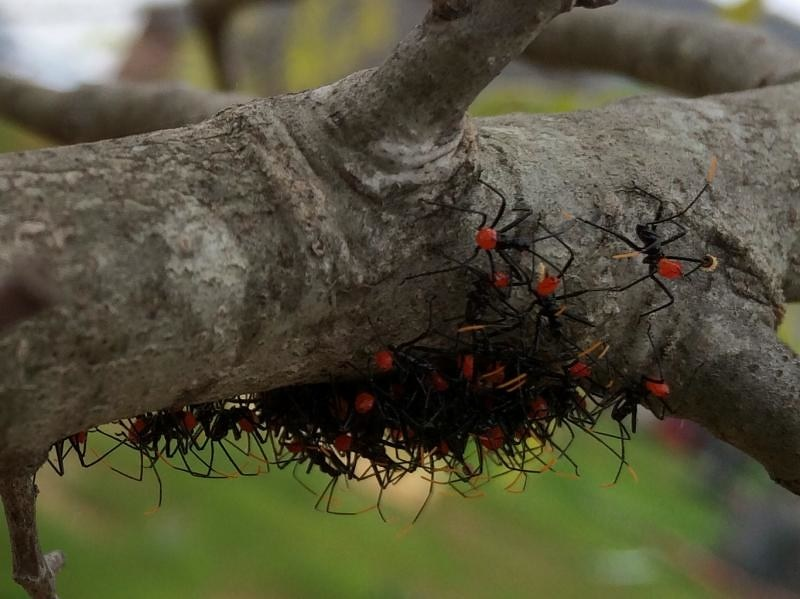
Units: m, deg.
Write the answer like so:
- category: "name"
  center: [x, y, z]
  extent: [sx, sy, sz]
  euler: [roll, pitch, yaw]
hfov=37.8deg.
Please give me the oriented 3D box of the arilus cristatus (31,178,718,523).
- category: "arilus cristatus"
  center: [0.029, 0.065, 1.690]
  extent: [0.970, 0.417, 0.507]
  euler: [-8, -2, -12]
